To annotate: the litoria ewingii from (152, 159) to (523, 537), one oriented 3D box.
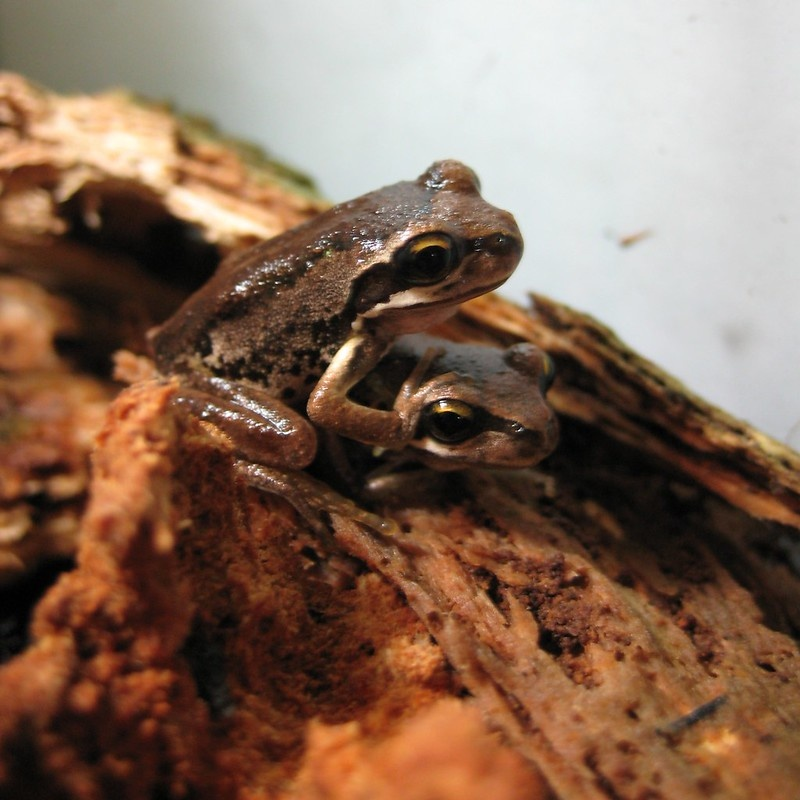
[{"bbox_3d":[-0.112,-0.187,2.222,0.478,0.818,0.724,12,30,-40],"label":"litoria ewingii"}]
